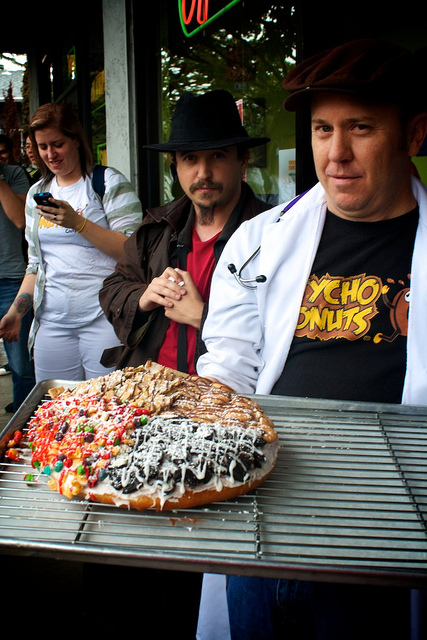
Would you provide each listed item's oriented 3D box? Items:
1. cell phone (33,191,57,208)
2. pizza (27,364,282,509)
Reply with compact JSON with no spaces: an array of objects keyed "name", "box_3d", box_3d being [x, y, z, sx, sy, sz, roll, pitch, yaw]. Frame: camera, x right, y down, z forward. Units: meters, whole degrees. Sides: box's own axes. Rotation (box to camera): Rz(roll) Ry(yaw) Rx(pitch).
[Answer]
[{"name":"cell phone","box_3d":[-0.958,-0.679,2.789,0.113,0.086,0.149,-8,15,-25]},{"name":"pizza","box_3d":[-0.171,0.284,1.325,0.601,0.131,0.668,-7,15,-25]}]
